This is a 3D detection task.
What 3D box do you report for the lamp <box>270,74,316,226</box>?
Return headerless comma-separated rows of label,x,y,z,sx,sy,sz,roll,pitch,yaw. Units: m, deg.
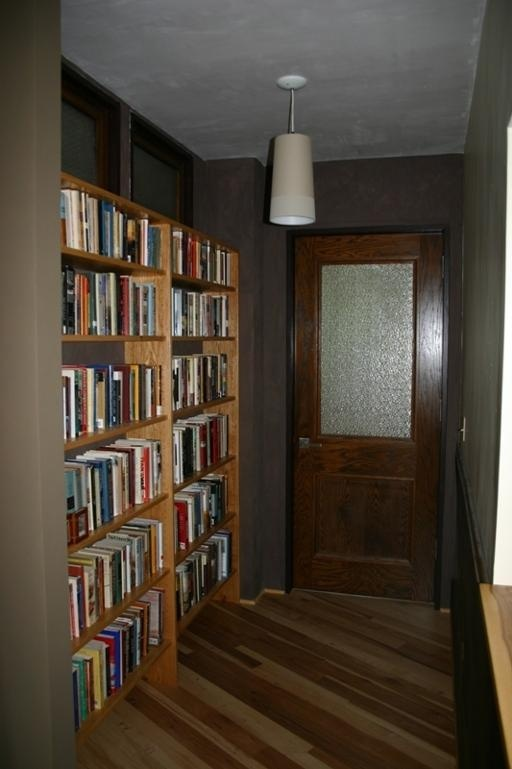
lamp,0.125,-0.833,2.028,0.150,0.505,0.162,1,-1,-29
